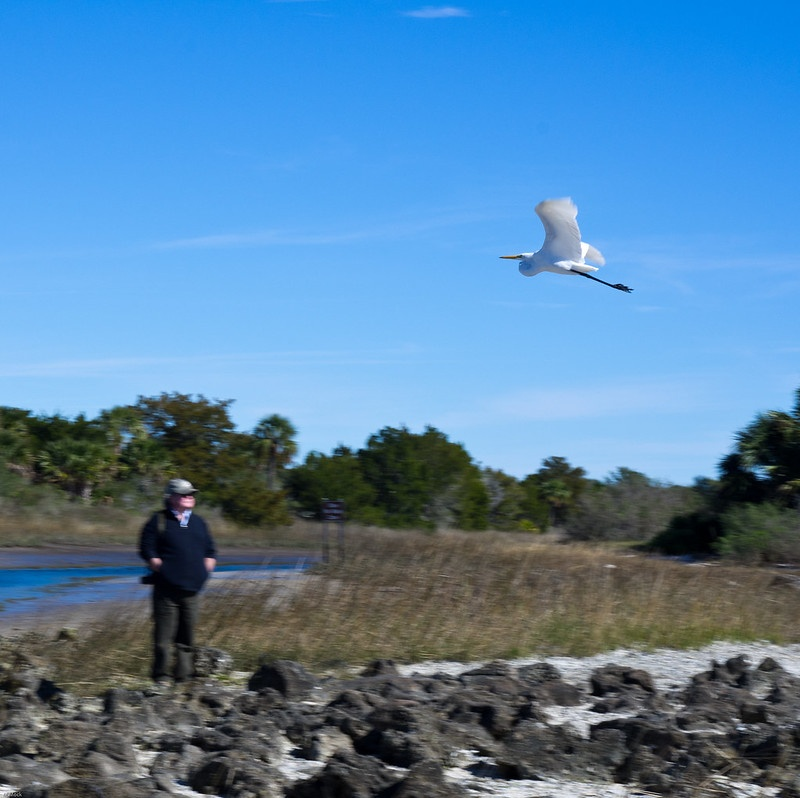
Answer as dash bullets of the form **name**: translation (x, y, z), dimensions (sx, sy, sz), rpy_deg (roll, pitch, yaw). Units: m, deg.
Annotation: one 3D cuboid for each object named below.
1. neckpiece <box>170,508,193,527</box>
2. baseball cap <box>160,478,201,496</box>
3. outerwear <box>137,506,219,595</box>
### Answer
- **neckpiece**: translation (-1.830, 1.000, 10.023), dimensions (0.179, 0.125, 0.112), rpy_deg (5, 27, -6)
- **baseball cap**: translation (-1.862, 0.742, 10.068), dimensions (0.315, 0.101, 0.192), rpy_deg (-2, -3, 16)
- **outerwear**: translation (-1.853, 1.277, 10.007), dimensions (0.635, 0.700, 0.238), rpy_deg (2, -6, -16)
